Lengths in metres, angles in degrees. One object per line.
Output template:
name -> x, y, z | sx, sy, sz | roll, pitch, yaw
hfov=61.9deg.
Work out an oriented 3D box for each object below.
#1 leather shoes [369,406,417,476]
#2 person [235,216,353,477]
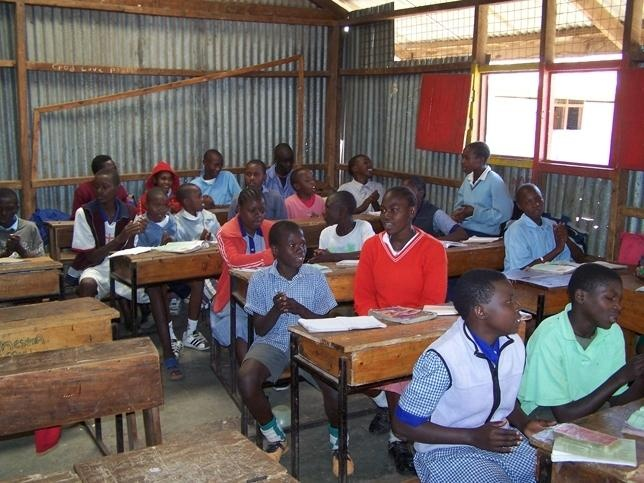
leather shoes -> 0.496, 1.362, 3.681 | 0.167, 0.212, 0.503 | -7, 9, -18
person -> -0.208, 0.666, 3.467 | 0.608, 1.537, 0.676 | -2, 11, 2
